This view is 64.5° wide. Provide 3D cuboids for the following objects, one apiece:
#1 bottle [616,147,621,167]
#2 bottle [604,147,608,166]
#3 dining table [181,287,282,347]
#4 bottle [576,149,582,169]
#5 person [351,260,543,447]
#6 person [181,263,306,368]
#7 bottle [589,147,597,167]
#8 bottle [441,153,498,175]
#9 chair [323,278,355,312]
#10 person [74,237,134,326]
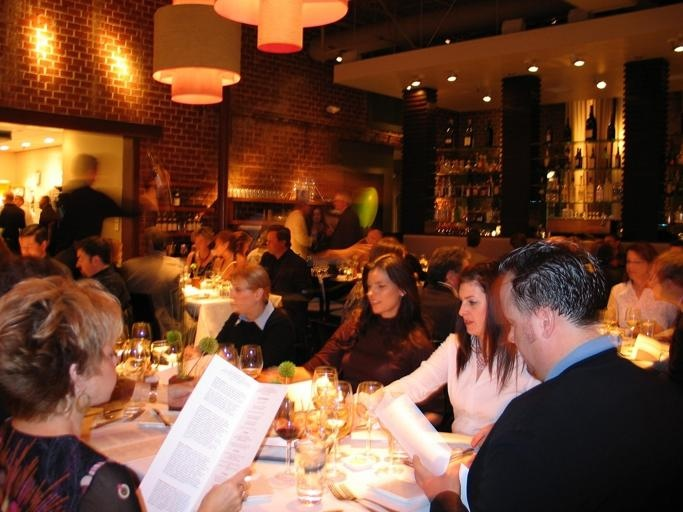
[{"bbox_3d":[4.180,-1.476,8.187,0.076,0.298,0.364,6,5,26],"label":"bottle"},{"bbox_3d":[4.032,-1.497,8.214,0.066,0.273,0.110,6,5,23],"label":"bottle"},{"bbox_3d":[-1.266,0.558,5.595,0.697,0.371,0.715,10,14,39],"label":"dining table"},{"bbox_3d":[3.666,-1.487,8.356,0.109,0.304,0.069,4,5,8],"label":"bottle"},{"bbox_3d":[0.496,0.389,2.897,0.711,1.190,0.873,3,-1,-21],"label":"person"},{"bbox_3d":[-0.651,0.343,3.581,0.554,0.878,0.638,4,-3,-37],"label":"person"},{"bbox_3d":[3.846,-1.495,8.288,0.121,0.298,0.051,7,6,34],"label":"bottle"},{"bbox_3d":[2.219,-1.601,9.530,1.035,0.410,0.202,6,5,18],"label":"bottle"},{"bbox_3d":[-0.078,0.451,6.673,0.322,0.246,0.477,-4,6,-36],"label":"chair"},{"bbox_3d":[-2.016,0.396,4.555,0.487,1.042,0.498,-1,9,-34],"label":"person"}]
